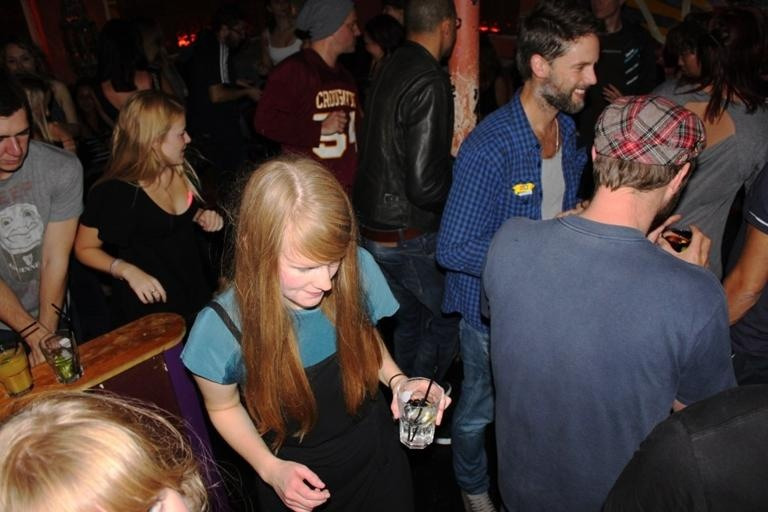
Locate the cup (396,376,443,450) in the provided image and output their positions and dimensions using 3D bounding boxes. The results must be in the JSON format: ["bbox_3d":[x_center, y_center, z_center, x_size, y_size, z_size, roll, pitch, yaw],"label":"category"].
[{"bbox_3d":[0.137,0.738,2.769,0.264,0.399,0.277,2,13,-1],"label":"cup"}]

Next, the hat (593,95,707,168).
[{"bbox_3d":[1.073,-0.558,2.297,0.343,0.140,0.347,-9,28,-11],"label":"hat"}]
